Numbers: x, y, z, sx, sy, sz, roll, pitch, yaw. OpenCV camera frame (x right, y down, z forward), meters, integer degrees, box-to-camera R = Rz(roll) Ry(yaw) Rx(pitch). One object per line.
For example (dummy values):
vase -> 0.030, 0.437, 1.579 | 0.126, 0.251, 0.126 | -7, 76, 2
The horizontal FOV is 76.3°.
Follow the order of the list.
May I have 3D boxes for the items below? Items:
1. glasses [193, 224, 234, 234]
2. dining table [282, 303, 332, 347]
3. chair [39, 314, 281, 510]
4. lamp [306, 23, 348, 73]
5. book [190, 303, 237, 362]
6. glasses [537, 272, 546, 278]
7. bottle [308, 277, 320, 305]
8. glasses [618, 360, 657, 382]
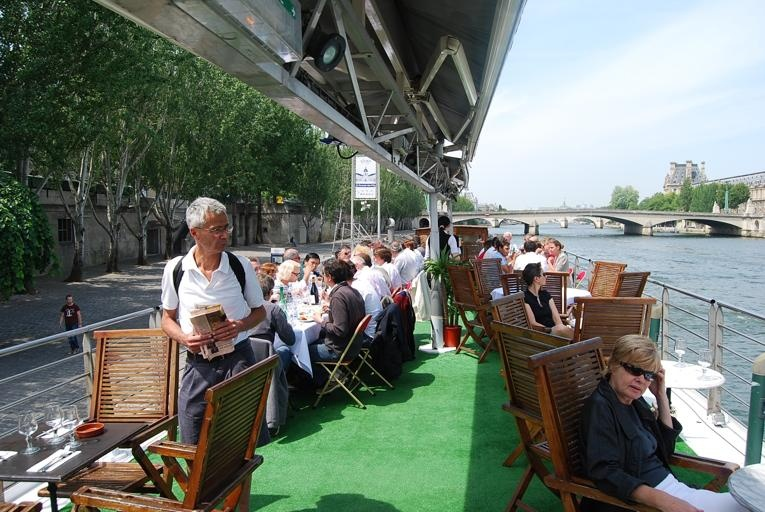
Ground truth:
glasses -> -1.311, -0.220, 3.894 | 0.164, 0.073, 0.306 | 2, 8, 24
dining table -> -1.093, 0.938, 6.971 | 0.473, 0.187, 0.807 | 2, 9, 12
chair -> -2.122, 1.288, 4.626 | 1.510, 2.041, 1.548 | 0, -7, 9
lamp -> -0.563, -2.108, 5.037 | 0.281, 0.308, 0.497 | -33, 43, -11
book -> -1.311, 0.601, 3.771 | 0.305, 0.460, 0.190 | -3, 8, -17
glasses -> 2.356, 0.261, 7.253 | 0.118, 0.115, 0.035 | 4, -1, -30
bottle -> -1.289, 0.659, 9.075 | 0.193, 0.552, 0.188 | -5, -37, -4
glasses -> 1.818, 0.799, 3.523 | 0.170, 0.049, 0.168 | 19, 5, -4
